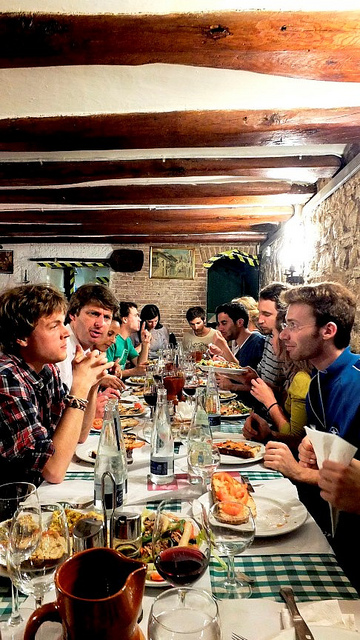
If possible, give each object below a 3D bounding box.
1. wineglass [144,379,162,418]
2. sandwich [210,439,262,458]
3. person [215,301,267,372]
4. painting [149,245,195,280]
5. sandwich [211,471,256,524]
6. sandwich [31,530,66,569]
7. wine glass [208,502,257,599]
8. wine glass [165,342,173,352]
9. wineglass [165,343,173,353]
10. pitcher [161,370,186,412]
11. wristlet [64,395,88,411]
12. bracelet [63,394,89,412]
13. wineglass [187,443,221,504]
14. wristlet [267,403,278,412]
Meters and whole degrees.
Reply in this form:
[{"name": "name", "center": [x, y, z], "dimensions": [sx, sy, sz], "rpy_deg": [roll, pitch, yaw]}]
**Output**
[{"name": "wineglass", "center": [-0.124, 0.321, 1.932], "dimensions": [0.068, 0.221, 0.070], "rpy_deg": [3, 9, 30]}, {"name": "sandwich", "center": [0.195, 0.445, 1.550], "dimensions": [0.112, 0.032, 0.118], "rpy_deg": [4, -4, 20]}, {"name": "person", "center": [0.557, 0.143, 4.094], "dimensions": [0.451, 0.870, 0.862], "rpy_deg": [-1, -11, 2]}, {"name": "painting", "center": [-0.098, -0.949, 7.247], "dimensions": [0.518, 0.396, 0.038], "rpy_deg": [1, -1, 1]}, {"name": "sandwich", "center": [0.125, 0.425, 1.091], "dimensions": [0.105, 0.046, 0.220], "rpy_deg": [9, 7, -6]}, {"name": "sandwich", "center": [-0.209, 0.351, 0.695], "dimensions": [0.039, 0.015, 0.042], "rpy_deg": [7, 26, -23]}, {"name": "wine glass", "center": [0.095, 0.412, 0.812], "dimensions": [0.079, 0.145, 0.084], "rpy_deg": [-2, -3, 42]}, {"name": "wine glass", "center": [-0.121, 0.325, 5.561], "dimensions": [0.095, 0.184, 0.099], "rpy_deg": [-1, -7, 9]}, {"name": "wineglass", "center": [-0.132, 0.328, 5.540], "dimensions": [0.095, 0.191, 0.098], "rpy_deg": [1, 10, 1]}, {"name": "pitcher", "center": [-0.022, 0.295, 2.047], "dimensions": [0.100, 0.167, 0.105], "rpy_deg": [-18, 26, -42]}, {"name": "wristlet", "center": [-0.335, 0.271, 1.480], "dimensions": [0.046, 0.029, 0.055], "rpy_deg": [24, -17, -32]}, {"name": "bracelet", "center": [-0.336, 0.273, 1.482], "dimensions": [0.055, 0.031, 0.060], "rpy_deg": [26, -15, -39]}, {"name": "wineglass", "center": [0.071, 0.443, 1.265], "dimensions": [0.097, 0.176, 0.098], "rpy_deg": [-1, -5, 0]}, {"name": "wristlet", "center": [0.469, 0.437, 2.244], "dimensions": [0.008, 0.035, 0.036], "rpy_deg": [28, 13, -9]}]
